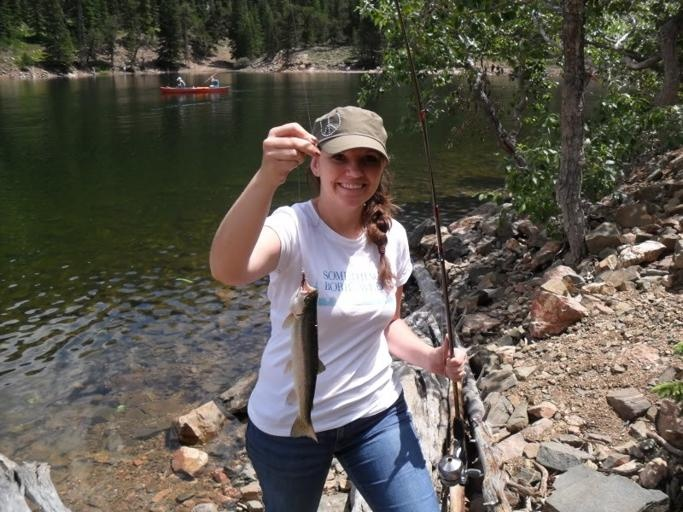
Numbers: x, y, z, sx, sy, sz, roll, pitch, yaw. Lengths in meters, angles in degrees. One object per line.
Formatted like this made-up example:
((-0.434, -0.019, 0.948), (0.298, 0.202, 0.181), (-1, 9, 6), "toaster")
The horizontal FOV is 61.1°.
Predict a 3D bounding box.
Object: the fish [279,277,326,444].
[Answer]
((-0.295, 0.802, 4.498), (0.292, 1.167, 0.200), (-4, -10, 21), "fish")

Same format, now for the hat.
((0.080, -0.976, 4.688), (0.612, 0.433, 0.322), (-3, 14, -5), "hat")
